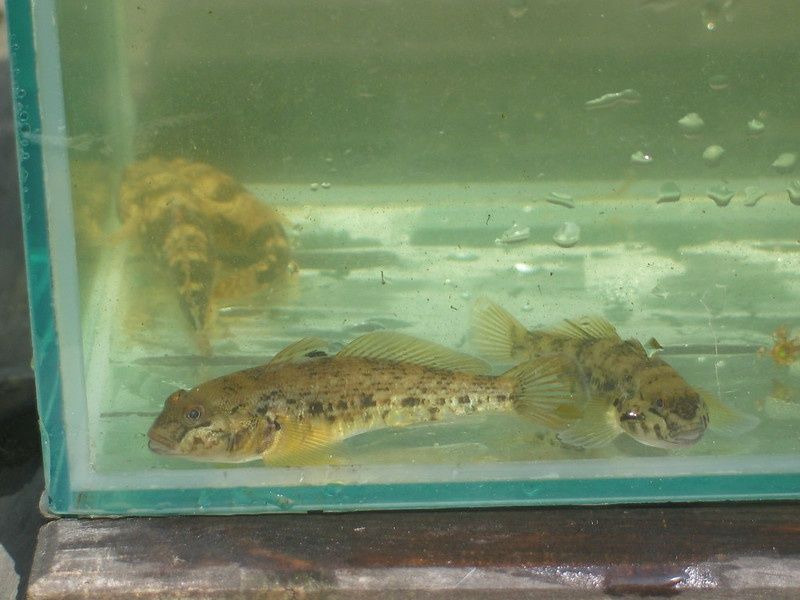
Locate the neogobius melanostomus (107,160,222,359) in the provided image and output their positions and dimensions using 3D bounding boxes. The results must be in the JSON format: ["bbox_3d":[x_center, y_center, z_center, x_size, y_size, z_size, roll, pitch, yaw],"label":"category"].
[{"bbox_3d":[-0.412,-0.076,1.721,0.195,0.342,0.116,-22,-2,-24],"label":"neogobius melanostomus"}]

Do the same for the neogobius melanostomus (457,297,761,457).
[{"bbox_3d":[0.357,0.135,1.621,0.231,0.174,0.446,-25,40,-34],"label":"neogobius melanostomus"}]
